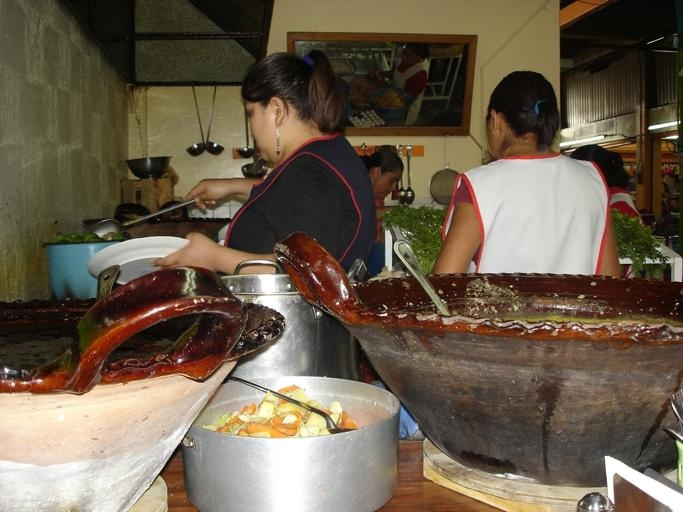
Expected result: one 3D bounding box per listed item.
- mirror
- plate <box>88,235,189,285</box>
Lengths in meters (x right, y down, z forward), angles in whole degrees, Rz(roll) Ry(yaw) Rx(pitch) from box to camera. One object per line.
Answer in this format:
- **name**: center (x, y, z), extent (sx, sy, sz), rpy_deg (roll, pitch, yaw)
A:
- **mirror**: center (0.312, -1.334, 4.470), extent (1.673, 0.770, 0.066), rpy_deg (-8, 25, -23)
- **plate**: center (-0.457, -0.020, 1.303), extent (0.211, 0.026, 0.185), rpy_deg (-11, -24, -10)
